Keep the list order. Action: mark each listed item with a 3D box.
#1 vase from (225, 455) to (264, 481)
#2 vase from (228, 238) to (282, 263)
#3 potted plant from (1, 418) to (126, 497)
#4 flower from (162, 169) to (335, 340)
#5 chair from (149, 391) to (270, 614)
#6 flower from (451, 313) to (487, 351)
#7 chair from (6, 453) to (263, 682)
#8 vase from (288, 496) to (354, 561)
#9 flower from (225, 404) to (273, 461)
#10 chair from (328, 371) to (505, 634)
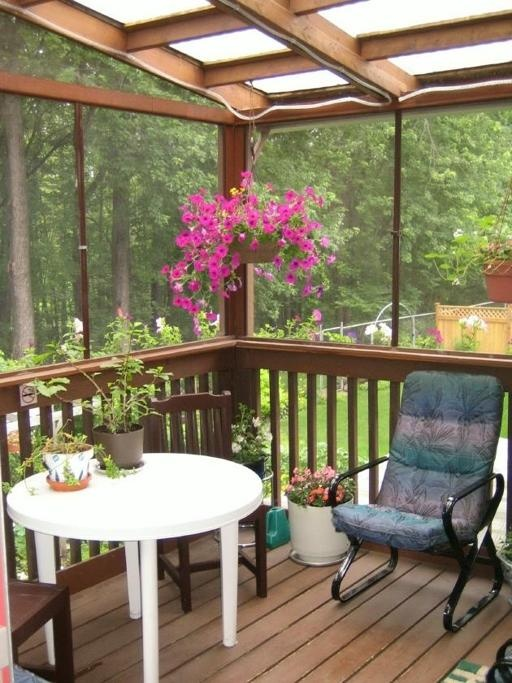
[{"bbox_3d":[-0.066,0.660,3.338,0.185,0.143,0.201,0,-2,7],"label":"vase"},{"bbox_3d":[0.000,-0.369,2.540,0.089,0.089,0.230,-4,5,-41],"label":"vase"},{"bbox_3d":[-0.689,0.411,2.247,0.313,0.166,0.408,0,-5,-19],"label":"potted plant"},{"bbox_3d":[0.004,-0.456,2.676,0.517,0.408,0.518,4,7,12],"label":"flower"},{"bbox_3d":[-0.231,0.712,2.832,0.484,0.837,0.461,-5,13,-32],"label":"chair"},{"bbox_3d":[1.021,-0.044,2.937,0.148,0.184,0.175,5,3,36],"label":"flower"},{"bbox_3d":[-0.310,0.643,2.085,0.785,0.542,0.791,6,10,39],"label":"chair"},{"bbox_3d":[0.312,0.972,3.289,0.387,0.354,0.370,-1,-8,21],"label":"vase"},{"bbox_3d":[-0.043,0.530,3.540,0.282,0.367,0.289,16,-14,-2],"label":"flower"},{"bbox_3d":[0.754,0.651,2.781,0.600,0.982,0.835,2,5,41],"label":"chair"}]
